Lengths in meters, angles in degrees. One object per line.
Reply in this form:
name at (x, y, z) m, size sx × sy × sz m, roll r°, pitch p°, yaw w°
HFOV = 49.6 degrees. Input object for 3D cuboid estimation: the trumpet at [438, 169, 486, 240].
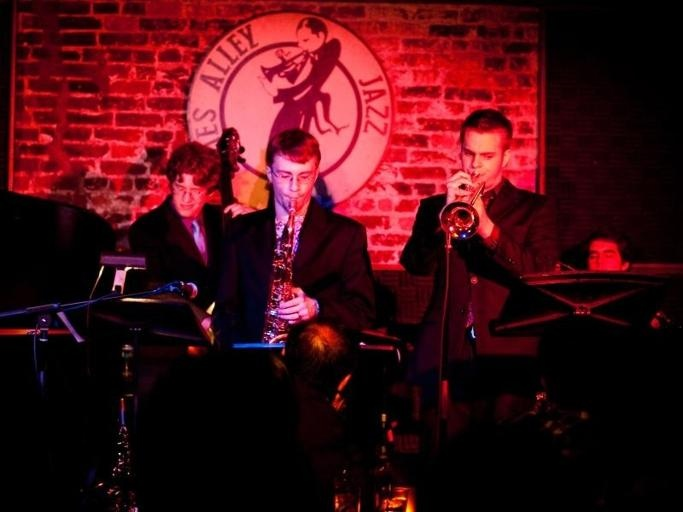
trumpet at (0.710, -0.237, 4.391) m, size 0.191 × 0.204 × 0.374 m, roll 39°, pitch 15°, yaw 1°

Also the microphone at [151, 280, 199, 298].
microphone at (-0.986, 0.204, 4.403) m, size 0.343 × 0.083 × 0.100 m, roll -3°, pitch -35°, yaw 42°
